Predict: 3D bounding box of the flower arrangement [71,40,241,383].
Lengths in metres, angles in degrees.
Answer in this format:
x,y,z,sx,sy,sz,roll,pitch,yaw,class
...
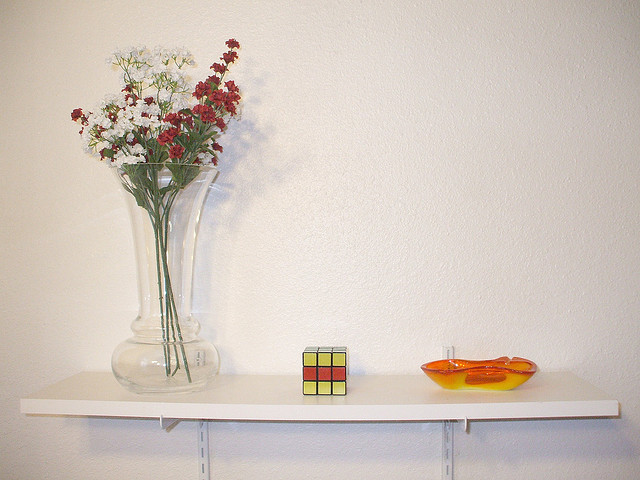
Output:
x,y,z,sx,sy,sz,roll,pitch,yaw,class
-0.431,-0.096,1.695,0.417,0.930,0.230,2,-6,-7,flower arrangement

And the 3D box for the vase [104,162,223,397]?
x,y,z,sx,sy,sz,roll,pitch,yaw,class
-0.405,0.106,1.665,0.300,0.599,0.136,2,-6,-8,vase

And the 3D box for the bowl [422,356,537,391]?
x,y,z,sx,sy,sz,roll,pitch,yaw,class
0.434,0.367,1.759,0.301,0.086,0.126,0,-6,9,bowl
